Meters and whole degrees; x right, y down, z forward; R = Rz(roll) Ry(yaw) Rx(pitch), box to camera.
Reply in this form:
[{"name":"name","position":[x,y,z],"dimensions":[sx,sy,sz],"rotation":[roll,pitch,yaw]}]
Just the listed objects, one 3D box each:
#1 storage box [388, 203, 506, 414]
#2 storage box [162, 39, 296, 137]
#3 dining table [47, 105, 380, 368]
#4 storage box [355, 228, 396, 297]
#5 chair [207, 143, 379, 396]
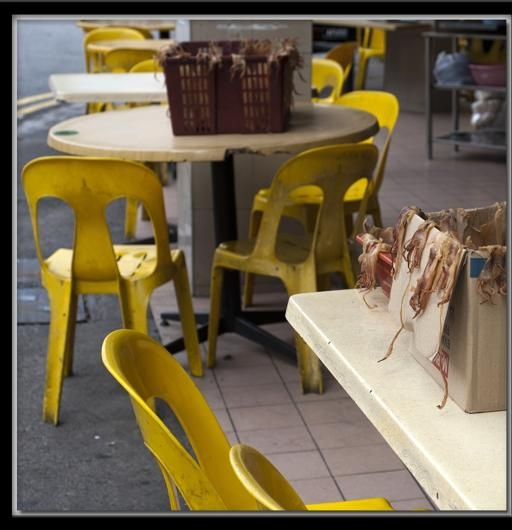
[{"name":"storage box","position":[0.223,0.060,0.612],"dimensions":[0.123,0.145,0.181],"rotation":[-6,20,-8]},{"name":"storage box","position":[-0.090,-0.665,2.046],"dimensions":[0.425,0.279,0.348],"rotation":[1,30,1]},{"name":"dining table","position":[-0.209,0.008,2.245],"dimensions":[1.161,1.005,1.165],"rotation":[-19,32,-35]},{"name":"storage box","position":[0.178,-0.004,0.794],"dimensions":[0.057,0.050,0.092],"rotation":[-4,19,-6]},{"name":"chair","position":[0.243,-0.163,2.443],"dimensions":[0.680,1.405,0.860],"rotation":[-11,20,-31]}]
